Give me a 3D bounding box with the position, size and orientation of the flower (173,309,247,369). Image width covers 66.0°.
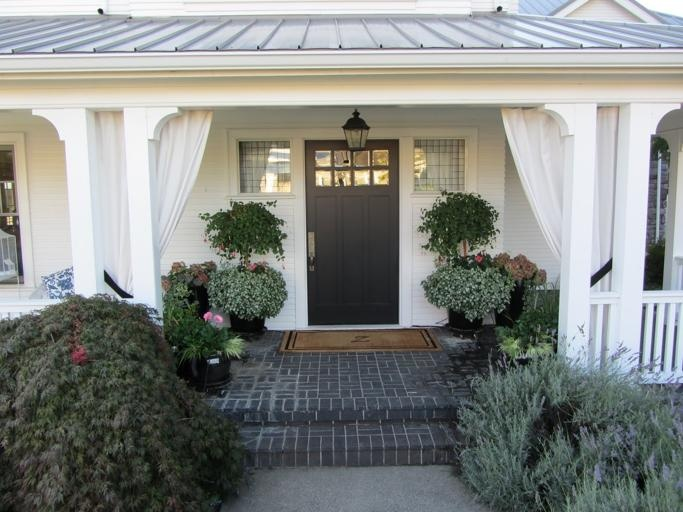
[{"bbox_3d":[-1.405,0.872,5.542,0.609,0.346,0.612,11,0,44],"label":"flower"}]

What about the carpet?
[{"bbox_3d":[0.218,1.093,6.936,2.012,0.030,0.878,0,11,0],"label":"carpet"}]

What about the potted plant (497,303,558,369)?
[{"bbox_3d":[1.973,0.897,5.671,0.627,0.490,0.965,11,16,44],"label":"potted plant"}]

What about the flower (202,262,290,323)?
[{"bbox_3d":[-1.212,0.437,6.955,0.717,0.528,0.862,4,3,0],"label":"flower"}]

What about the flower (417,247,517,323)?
[{"bbox_3d":[1.618,0.417,6.791,1.127,0.902,0.488,3,12,16],"label":"flower"}]
